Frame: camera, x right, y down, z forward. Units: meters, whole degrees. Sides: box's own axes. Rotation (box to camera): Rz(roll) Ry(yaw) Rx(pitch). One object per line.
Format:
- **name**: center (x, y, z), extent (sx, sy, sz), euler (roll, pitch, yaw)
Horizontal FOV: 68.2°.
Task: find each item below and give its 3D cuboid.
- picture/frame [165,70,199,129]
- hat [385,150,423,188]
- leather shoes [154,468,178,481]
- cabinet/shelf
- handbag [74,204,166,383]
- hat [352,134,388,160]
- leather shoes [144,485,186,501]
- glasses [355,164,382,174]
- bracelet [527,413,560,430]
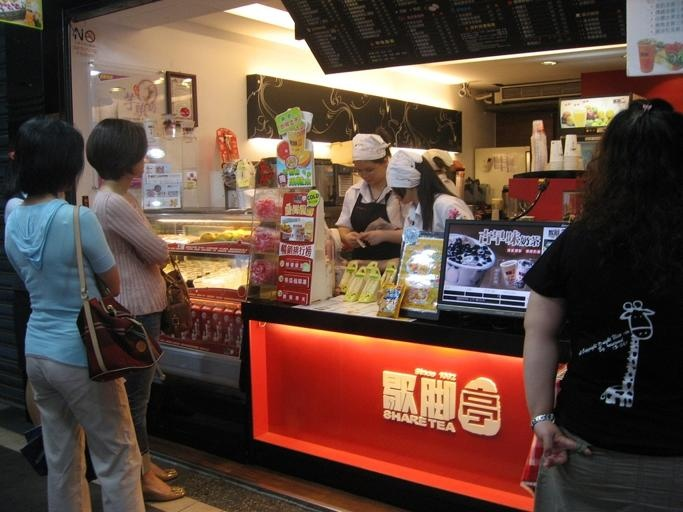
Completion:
- **picture/frame**: center (-1.696, -1.704, 5.417), extent (0.126, 0.562, 0.446), euler (5, 9, 24)
- **hat**: center (0.425, -0.594, 3.418), extent (0.268, 0.235, 0.206), euler (-7, 14, -23)
- **leather shoes**: center (-1.092, 1.356, 3.179), extent (0.051, 0.063, 0.152), euler (8, 6, 28)
- **cabinet/shelf**: center (-0.954, 0.282, 3.891), extent (1.391, 1.298, 0.728), euler (1, 1, 37)
- **handbag**: center (-0.953, 0.166, 2.166), extent (0.327, 0.754, 0.275), euler (-2, 8, -22)
- **hat**: center (0.232, -0.846, 3.895), extent (0.292, 0.205, 0.183), euler (0, 8, -12)
- **leather shoes**: center (-1.030, 1.403, 3.012), extent (0.254, 0.100, 0.086), euler (0, 1, -11)
- **glasses**: center (0.202, -0.692, 3.960), extent (0.200, 0.088, 0.165), euler (4, 9, 20)
- **bracelet**: center (0.600, 0.496, 1.522), extent (0.053, 0.057, 0.056), euler (0, -15, -2)
